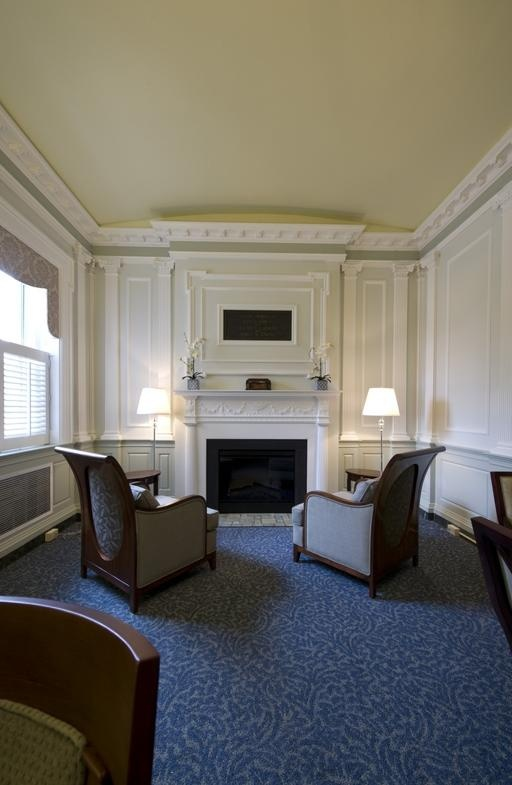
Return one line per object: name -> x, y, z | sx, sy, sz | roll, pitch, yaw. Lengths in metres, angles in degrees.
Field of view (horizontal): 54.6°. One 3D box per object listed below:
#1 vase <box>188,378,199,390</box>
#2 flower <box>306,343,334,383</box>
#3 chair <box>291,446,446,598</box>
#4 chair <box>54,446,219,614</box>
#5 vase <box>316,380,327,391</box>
vase -> -0.528, -0.065, 4.167 | 0.088, 0.113, 0.094 | 0, 2, -30
flower -> 0.543, -0.255, 4.286 | 0.290, 0.411, 0.206 | 0, -5, 0
chair -> 0.665, 0.671, 2.968 | 0.587, 0.853, 0.836 | 1, 0, -42
chair -> -0.608, 0.647, 2.662 | 0.570, 0.781, 0.801 | 2, 3, 29
vase -> 0.551, -0.057, 4.208 | 0.079, 0.085, 0.081 | -1, 3, -32
